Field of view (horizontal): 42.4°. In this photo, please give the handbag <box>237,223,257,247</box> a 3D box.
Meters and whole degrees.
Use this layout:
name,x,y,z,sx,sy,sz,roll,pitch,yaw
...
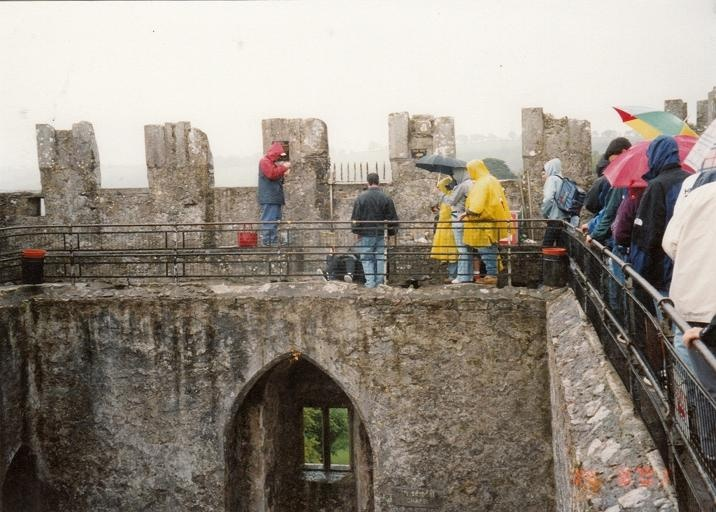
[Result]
name,x,y,z,sx,sy,sz,roll,pitch,yaw
handbag,-1.883,-0.326,15.581,0.376,0.544,0.285,0,-4,-4

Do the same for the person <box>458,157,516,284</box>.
name,x,y,z,sx,sy,sz,roll,pitch,yaw
person,1.849,-0.475,13.286,0.694,1.450,0.925,-2,1,9

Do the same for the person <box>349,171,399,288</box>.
name,x,y,z,sx,sy,sz,roll,pitch,yaw
person,0.239,-0.402,14.000,0.689,1.491,1.610,-2,1,2

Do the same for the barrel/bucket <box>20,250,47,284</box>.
name,x,y,z,sx,sy,sz,roll,pitch,yaw
barrel/bucket,-4.835,0.224,13.839,0.405,0.566,0.522,-4,-4,43

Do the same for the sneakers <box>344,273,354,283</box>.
name,x,y,z,sx,sy,sz,roll,pitch,yaw
sneakers,-0.154,0.341,14.048,0.118,0.135,0.132,0,4,2
